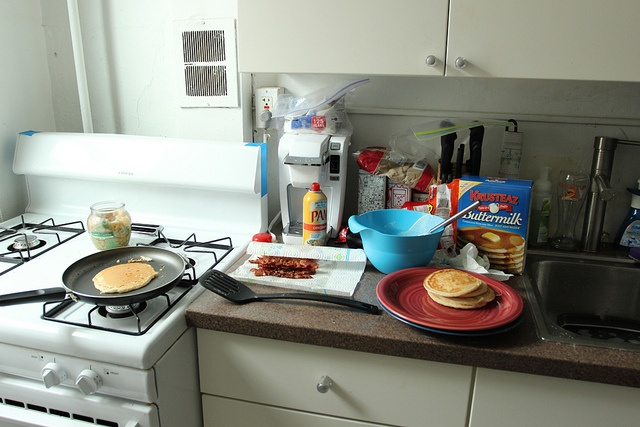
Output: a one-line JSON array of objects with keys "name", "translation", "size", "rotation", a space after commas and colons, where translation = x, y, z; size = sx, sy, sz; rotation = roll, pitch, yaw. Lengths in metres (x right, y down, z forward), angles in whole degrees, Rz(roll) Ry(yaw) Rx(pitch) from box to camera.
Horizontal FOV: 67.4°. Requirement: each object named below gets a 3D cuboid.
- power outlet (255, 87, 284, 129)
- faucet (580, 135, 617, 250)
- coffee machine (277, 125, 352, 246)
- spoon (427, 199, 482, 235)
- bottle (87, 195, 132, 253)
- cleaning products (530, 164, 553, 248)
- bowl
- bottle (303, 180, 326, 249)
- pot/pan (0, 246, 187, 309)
[{"name": "power outlet", "translation": [-0.221, -0.444, 2.039], "size": [0.132, 0.178, 0.131], "rotation": [0, 17, 1]}, {"name": "faucet", "translation": [1.042, -0.061, 1.802], "size": [0.077, 0.436, 0.226], "rotation": [8, 19, 26]}, {"name": "coffee machine", "translation": [-0.021, -0.115, 1.909], "size": [0.370, 0.496, 0.421], "rotation": [2, 16, 7]}, {"name": "spoon", "translation": [0.468, 0.007, 1.683], "size": [0.166, 0.127, 0.150], "rotation": [4, 17, 15]}, {"name": "bottle", "translation": [-0.780, 0.043, 1.865], "size": [0.186, 0.166, 0.178], "rotation": [-6, 9, -38]}, {"name": "cleaning products", "translation": [0.863, -0.027, 1.877], "size": [0.077, 0.308, 0.069], "rotation": [7, 19, 22]}, {"name": "bowl", "translation": [0.274, 0.086, 1.738], "size": [0.278, 0.157, 0.249], "rotation": [3, 16, 17]}, {"name": "bottle", "translation": [-0.015, 0.002, 1.837], "size": [0.106, 0.237, 0.086], "rotation": [-4, 18, -13]}, {"name": "pot/pan", "translation": [-0.723, 0.154, 1.555], "size": [0.241, 0.044, 0.443], "rotation": [20, 27, 41]}]
